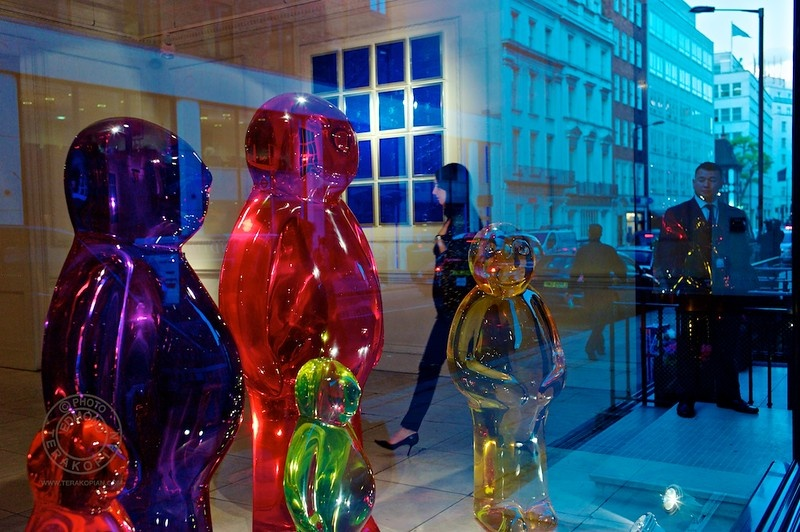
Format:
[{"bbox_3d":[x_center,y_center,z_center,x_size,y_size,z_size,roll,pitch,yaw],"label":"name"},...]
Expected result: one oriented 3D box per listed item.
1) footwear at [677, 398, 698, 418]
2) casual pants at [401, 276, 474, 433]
[{"bbox_3d":[1.051,0.522,2.335,0.057,0.079,0.083,5,6,45],"label":"footwear"},{"bbox_3d":[0.115,0.224,1.962,0.140,0.556,0.150,28,-23,-17],"label":"casual pants"}]
